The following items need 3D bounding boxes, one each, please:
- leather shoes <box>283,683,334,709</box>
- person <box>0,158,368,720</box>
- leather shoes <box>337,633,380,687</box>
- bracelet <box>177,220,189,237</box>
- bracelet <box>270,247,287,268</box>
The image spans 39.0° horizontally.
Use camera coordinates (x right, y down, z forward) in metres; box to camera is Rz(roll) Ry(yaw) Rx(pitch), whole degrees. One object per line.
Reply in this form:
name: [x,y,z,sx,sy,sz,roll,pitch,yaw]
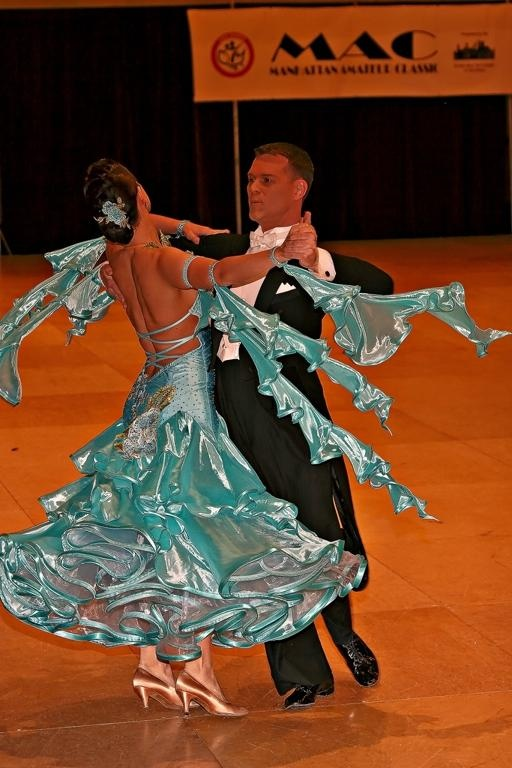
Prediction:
leather shoes: [0.149,0.902,2.105,0.144,0.050,0.049,-2,-4,-38]
person: [-0.229,0.150,1.962,0.937,1.504,0.551,-3,0,14]
leather shoes: [0.319,0.877,2.292,0.069,0.063,0.174,-36,41,-1]
bracelet: [-0.252,-0.529,2.453,0.026,0.046,0.041,12,-11,-5]
bracelet: [0.051,-0.292,1.641,0.040,0.039,0.037,-3,0,25]
